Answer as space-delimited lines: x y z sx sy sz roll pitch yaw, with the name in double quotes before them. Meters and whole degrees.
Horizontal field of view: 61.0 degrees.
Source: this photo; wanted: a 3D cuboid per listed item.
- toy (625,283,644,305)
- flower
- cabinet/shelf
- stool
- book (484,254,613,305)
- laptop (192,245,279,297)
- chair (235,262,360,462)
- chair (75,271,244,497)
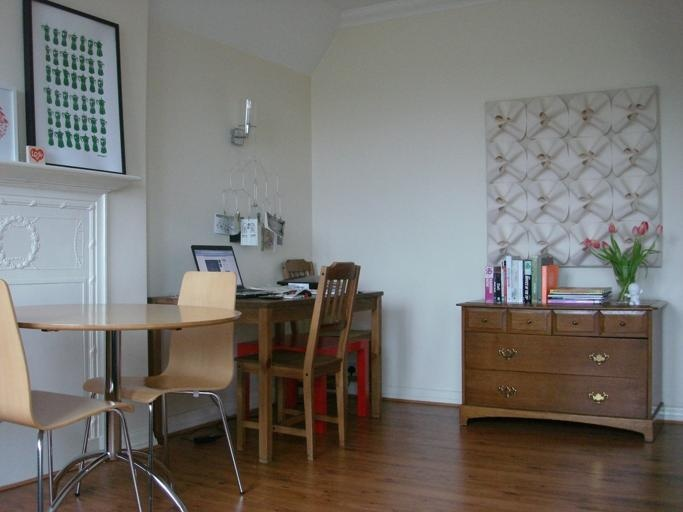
"toy" 1.917 0.252 3.776 0.108 0.159 0.076 -4 11 -29
"flower" 2.007 0.042 4.060 0.492 0.508 0.482 2 -1 43
"cabinet/shelf" 1.535 0.654 3.959 1.401 0.995 0.791 -1 -3 26
"stool" -0.226 0.788 4.051 0.681 0.659 0.658 -1 0 34
"book" 1.393 0.161 3.931 0.769 0.309 0.385 1 3 22
"laptop" -0.695 0.070 3.777 0.410 0.300 0.385 1 -1 20
"chair" -0.262 0.614 3.568 0.647 1.129 0.573 0 -2 19
"chair" -0.855 0.611 2.790 0.615 1.027 0.604 3 2 34
